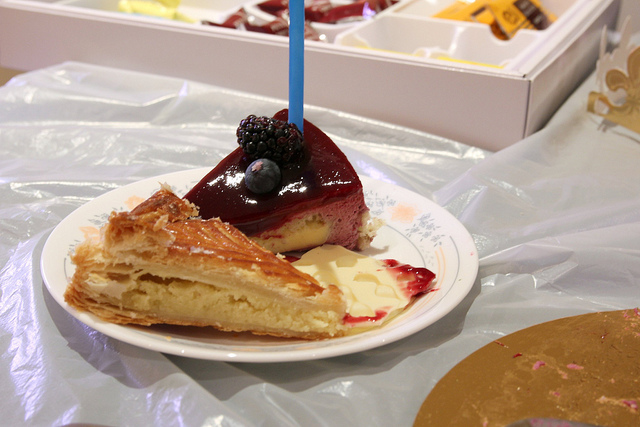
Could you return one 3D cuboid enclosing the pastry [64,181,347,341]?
[{"bbox_3d":[-0.244,0.119,1.210,0.609,0.194,0.257,2,49,2],"label":"pastry"}]

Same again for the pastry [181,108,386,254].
[{"bbox_3d":[-0.110,-0.081,1.575,0.552,0.258,0.536,-15,36,15],"label":"pastry"}]
